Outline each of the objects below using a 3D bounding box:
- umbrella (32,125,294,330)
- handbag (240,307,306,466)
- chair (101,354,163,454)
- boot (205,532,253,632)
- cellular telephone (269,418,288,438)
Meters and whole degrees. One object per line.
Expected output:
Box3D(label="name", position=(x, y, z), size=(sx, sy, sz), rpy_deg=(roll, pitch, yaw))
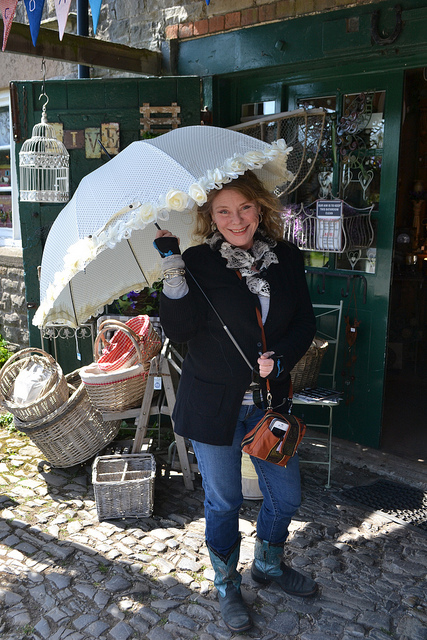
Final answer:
Box3D(label="umbrella", position=(-0.248, -0.290, 1.696), size=(0.579, 0.675, 0.859), rpy_deg=(-5, 8, -35))
Box3D(label="handbag", position=(0.234, 0.249, 1.904), size=(0.181, 0.598, 0.322), rpy_deg=(6, 9, 43))
Box3D(label="chair", position=(-0.547, 0.605, 3.511), size=(0.404, 0.801, 0.543), rpy_deg=(-1, 6, -6))
Box3D(label="boot", position=(0.072, 1.026, 2.058), size=(0.180, 0.352, 0.185), rpy_deg=(1, 7, 12))
Box3D(label="cellular telephone", position=(0.229, 0.383, 1.814), size=(0.063, 0.060, 0.015), rpy_deg=(30, -11, -22))
